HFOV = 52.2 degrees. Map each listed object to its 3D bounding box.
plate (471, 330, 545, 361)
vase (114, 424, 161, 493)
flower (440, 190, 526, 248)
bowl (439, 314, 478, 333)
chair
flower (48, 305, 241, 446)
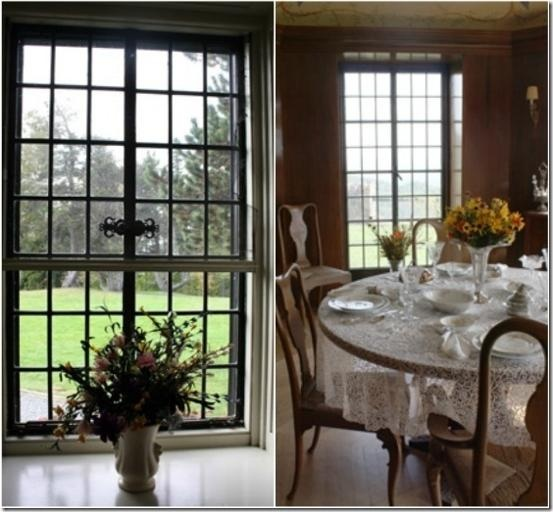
[{"bbox_3d":[0.752,0.290,1.818,0.122,0.022,0.135,-7,14,4],"label":"plate"},{"bbox_3d":[-0.529,0.755,2.177,0.176,0.255,0.168,3,1,16],"label":"vase"},{"bbox_3d":[0.771,-0.113,2.117,0.208,0.174,0.217,2,-5,14],"label":"flower"},{"bbox_3d":[0.604,0.229,1.913,0.111,0.044,0.119,-2,1,0],"label":"bowl"},{"bbox_3d":[0.563,0.317,2.119,0.769,0.581,0.811,0,0,15],"label":"chair"},{"bbox_3d":[-0.561,0.514,2.249,0.484,0.411,0.478,-8,13,35],"label":"flower"}]
